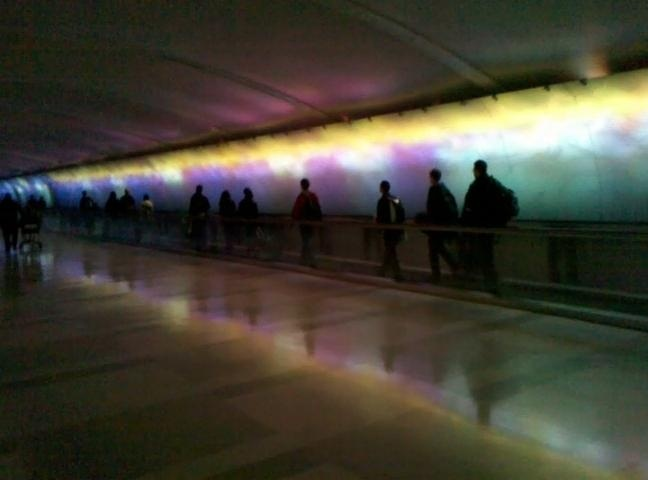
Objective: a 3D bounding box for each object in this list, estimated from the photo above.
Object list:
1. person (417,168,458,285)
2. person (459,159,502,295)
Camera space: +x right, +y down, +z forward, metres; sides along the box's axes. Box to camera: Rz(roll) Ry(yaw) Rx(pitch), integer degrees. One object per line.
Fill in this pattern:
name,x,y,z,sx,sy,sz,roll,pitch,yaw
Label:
person,2.341,-0.336,9.253,0.672,2.189,1.535,1,7,12
person,2.859,-0.296,8.472,0.694,2.345,1.039,1,7,20
